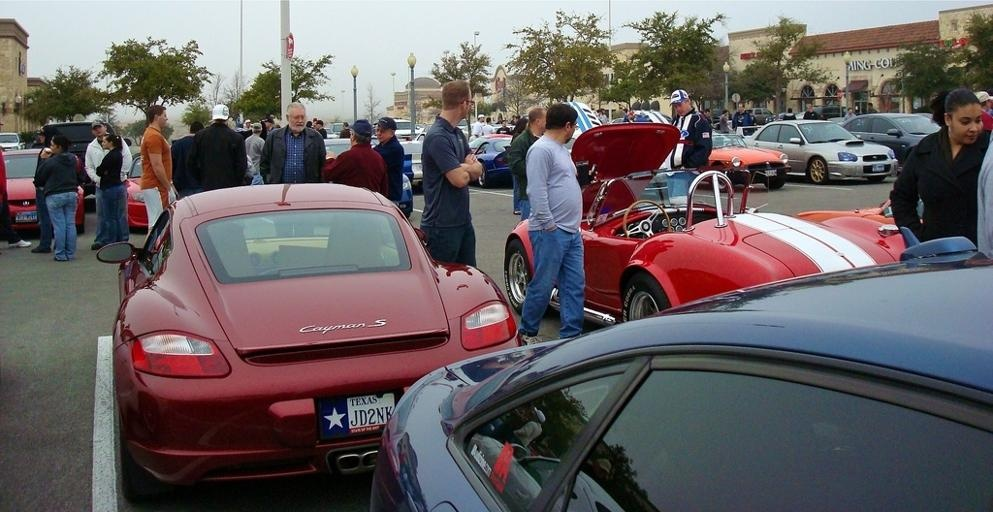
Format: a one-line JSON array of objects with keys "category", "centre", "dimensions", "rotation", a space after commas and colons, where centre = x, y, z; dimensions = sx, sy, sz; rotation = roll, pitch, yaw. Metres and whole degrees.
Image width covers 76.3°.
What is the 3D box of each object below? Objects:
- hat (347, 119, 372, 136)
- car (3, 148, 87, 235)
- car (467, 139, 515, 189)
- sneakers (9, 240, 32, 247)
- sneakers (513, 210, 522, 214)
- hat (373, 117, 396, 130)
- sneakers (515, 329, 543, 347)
[{"category": "hat", "centre": [-1.929, -1.821, 8.965], "dimensions": [0.234, 0.174, 0.348], "rotation": [-2, 26, -36]}, {"category": "car", "centre": [-10.851, -1.586, 15.233], "dimensions": [1.597, 1.304, 3.738], "rotation": [-2, 0, -32]}, {"category": "car", "centre": [-0.145, -3.377, 23.088], "dimensions": [1.614, 0.991, 2.923], "rotation": [-6, 16, -18]}, {"category": "sneakers", "centre": [-9.929, -0.226, 13.252], "dimensions": [0.388, 0.159, 0.146], "rotation": [-6, 19, -24]}, {"category": "sneakers", "centre": [0.536, -1.089, 15.968], "dimensions": [0.123, 0.121, 0.343], "rotation": [3, 9, 5]}, {"category": "hat", "centre": [-1.610, -1.992, 9.635], "dimensions": [0.340, 0.162, 0.238], "rotation": [13, 6, -43]}, {"category": "sneakers", "centre": [0.295, 0.861, 6.716], "dimensions": [0.389, 0.158, 0.273], "rotation": [5, -7, -12]}]
